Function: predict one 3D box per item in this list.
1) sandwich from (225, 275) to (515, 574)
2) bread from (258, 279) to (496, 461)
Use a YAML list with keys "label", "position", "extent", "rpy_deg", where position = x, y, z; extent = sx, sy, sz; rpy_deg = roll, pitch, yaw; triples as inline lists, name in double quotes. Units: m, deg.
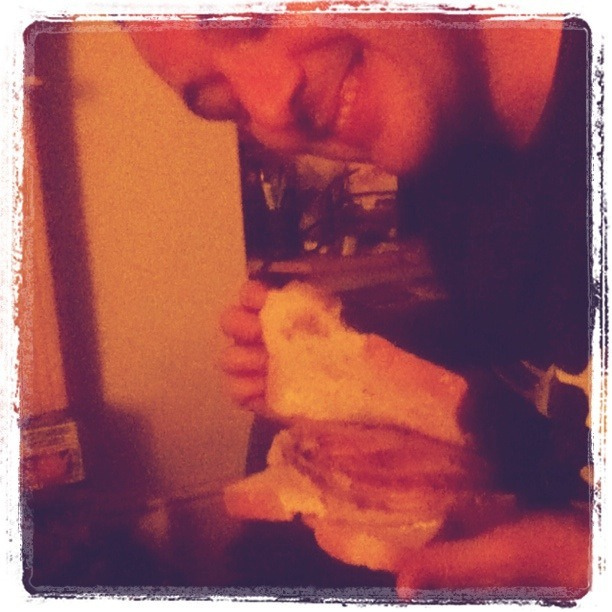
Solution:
- label: "sandwich"
  position: [0.082, 0.258, 1.630]
  extent: [0.432, 0.147, 0.517]
  rpy_deg: [-20, 40, -12]
- label: "bread"
  position: [0.111, 0.135, 1.573]
  extent: [0.472, 0.124, 0.258]
  rpy_deg: [24, 29, -3]
